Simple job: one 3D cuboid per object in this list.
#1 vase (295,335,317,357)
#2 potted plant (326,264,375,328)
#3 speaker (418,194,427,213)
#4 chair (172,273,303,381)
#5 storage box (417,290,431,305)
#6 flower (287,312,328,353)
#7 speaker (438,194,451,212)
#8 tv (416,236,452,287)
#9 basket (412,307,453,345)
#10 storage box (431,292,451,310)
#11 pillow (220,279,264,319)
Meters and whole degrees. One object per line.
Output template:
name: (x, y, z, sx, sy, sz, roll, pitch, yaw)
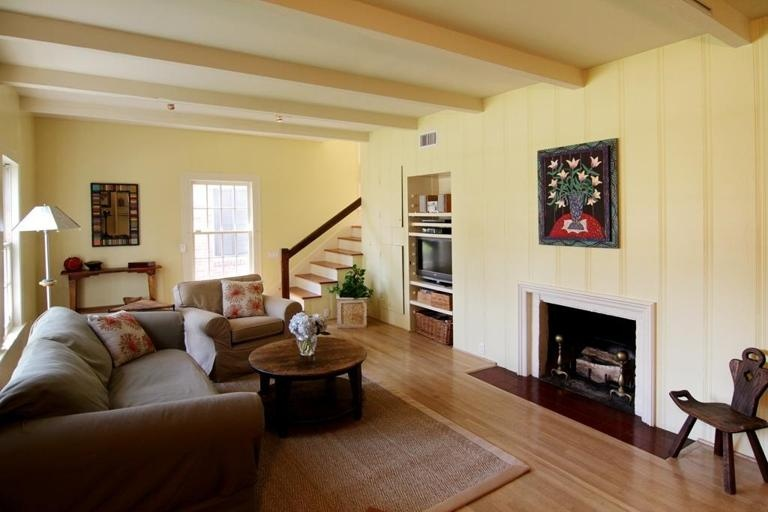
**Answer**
vase: (-0.764, 0.871, 5.138, 0.195, 0.214, 0.195, 0, -1, -24)
potted plant: (-0.472, 0.638, 8.166, 0.842, 1.032, 0.756, 0, 1, -3)
speaker: (0.540, -0.723, 7.287, 0.071, 0.229, 0.315, -1, 5, -9)
chair: (-1.734, 0.837, 6.199, 1.119, 1.195, 1.338, -2, 0, 44)
storage box: (0.573, 0.570, 7.290, 0.150, 0.174, 0.287, -1, 2, -32)
flower: (-0.705, 0.748, 5.230, 0.388, 0.422, 0.377, 0, -2, -38)
speaker: (0.798, -0.695, 6.915, 0.196, 0.236, 0.055, 3, 6, 37)
tv: (0.703, 0.076, 7.098, 0.092, 0.477, 0.666, -6, 8, -32)
basket: (0.718, 0.977, 7.174, 0.298, 0.210, 0.491, -4, 5, -34)
storage box: (0.790, 0.608, 7.009, 0.093, 0.200, 0.356, -4, 6, -34)
pillow: (-1.711, 0.530, 6.268, 0.416, 0.416, 0.150, -1, -22, -26)
